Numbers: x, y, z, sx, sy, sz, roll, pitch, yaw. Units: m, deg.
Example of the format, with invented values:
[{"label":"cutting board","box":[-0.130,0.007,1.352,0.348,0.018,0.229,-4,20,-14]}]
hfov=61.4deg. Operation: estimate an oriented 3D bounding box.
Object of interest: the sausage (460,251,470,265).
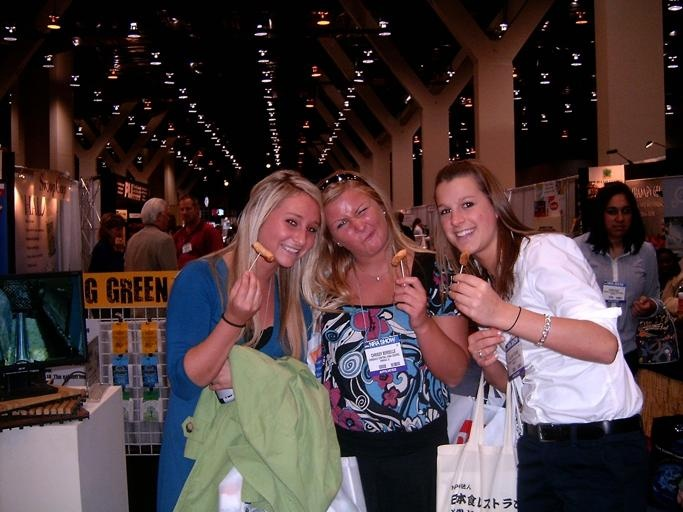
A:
[{"label":"sausage","box":[0.580,0.007,2.714,0.049,0.067,0.012,7,-1,-25]}]

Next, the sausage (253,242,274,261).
[{"label":"sausage","box":[-0.379,-0.041,2.771,0.052,0.052,0.168,46,-5,-35]}]

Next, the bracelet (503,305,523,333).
[{"label":"bracelet","box":[0.721,0.260,2.409,0.020,0.096,0.078,12,12,-26]}]

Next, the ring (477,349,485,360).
[{"label":"ring","box":[0.646,0.454,2.667,0.043,0.050,0.011,6,12,38]}]

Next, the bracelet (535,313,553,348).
[{"label":"bracelet","box":[0.842,0.313,2.379,0.024,0.102,0.099,11,-27,4]}]

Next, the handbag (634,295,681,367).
[{"label":"handbag","box":[2.323,0.447,4.363,0.292,0.468,0.586,-13,15,26]}]

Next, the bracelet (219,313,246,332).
[{"label":"bracelet","box":[-0.488,0.298,2.603,0.073,0.019,0.077,32,11,-3]}]

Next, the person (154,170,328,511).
[{"label":"person","box":[-0.453,0.366,2.777,0.854,1.606,0.506,-1,-8,-21]}]
